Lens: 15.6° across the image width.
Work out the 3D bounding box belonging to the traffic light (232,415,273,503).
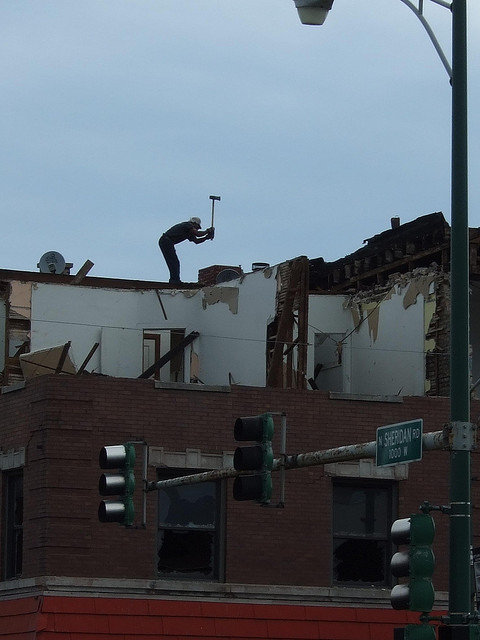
[{"bbox_3d":[0.220,1.685,21.472,0.412,1.240,0.355,-5,13,-19],"label":"traffic light"}]

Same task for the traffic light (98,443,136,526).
[{"bbox_3d":[-1.667,2.188,23.437,0.470,1.085,0.650,0,-8,-5],"label":"traffic light"}]

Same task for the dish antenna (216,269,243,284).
[{"bbox_3d":[-0.261,-1.009,40.119,0.593,0.423,0.801,-1,-9,0],"label":"dish antenna"}]

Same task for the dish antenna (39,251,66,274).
[{"bbox_3d":[-4.535,-1.383,42.380,0.644,0.634,0.692,3,-9,-25],"label":"dish antenna"}]

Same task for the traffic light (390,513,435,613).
[{"bbox_3d":[1.994,2.799,20.205,0.437,1.135,0.695,1,-8,-17],"label":"traffic light"}]
